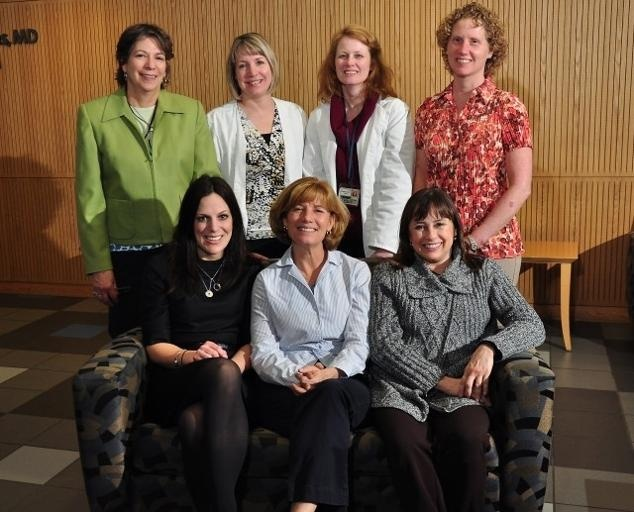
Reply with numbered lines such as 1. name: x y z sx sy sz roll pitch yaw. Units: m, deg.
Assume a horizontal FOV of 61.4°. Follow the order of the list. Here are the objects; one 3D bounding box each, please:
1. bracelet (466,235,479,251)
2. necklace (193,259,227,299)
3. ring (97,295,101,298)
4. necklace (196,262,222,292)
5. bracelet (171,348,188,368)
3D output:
1. bracelet: 0.799 -0.060 2.713 0.059 0.039 0.076 35 4 -6
2. necklace: -0.512 0.107 2.558 0.172 0.231 0.019 -29 51 -35
3. ring: -1.236 0.234 3.028 0.017 0.016 0.019 -1 -9 3
4. necklace: -0.536 0.109 2.625 0.134 0.011 0.195 1 58 -10
5. bracelet: -0.626 0.463 2.432 0.029 0.073 0.057 15 9 27
